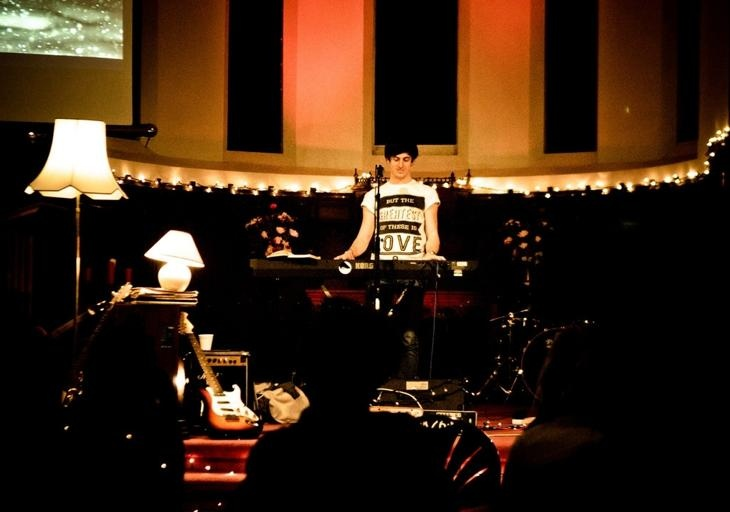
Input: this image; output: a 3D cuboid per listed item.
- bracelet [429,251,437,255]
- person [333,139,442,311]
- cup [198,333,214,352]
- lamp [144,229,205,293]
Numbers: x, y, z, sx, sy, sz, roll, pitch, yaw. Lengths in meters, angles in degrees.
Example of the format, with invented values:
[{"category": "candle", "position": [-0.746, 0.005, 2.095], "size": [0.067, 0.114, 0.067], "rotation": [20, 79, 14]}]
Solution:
[{"category": "bracelet", "position": [0.480, -0.022, 5.690], "size": [0.041, 0.029, 0.014], "rotation": [-1, 9, -26]}, {"category": "person", "position": [0.285, -0.358, 6.272], "size": [0.944, 1.103, 0.862], "rotation": [1, -3, 8]}, {"category": "cup", "position": [-1.196, 0.660, 6.197], "size": [0.122, 0.118, 0.119], "rotation": [1, -1, 0]}, {"category": "lamp", "position": [-1.382, 0.039, 5.898], "size": [0.416, 0.438, 0.395], "rotation": [9, -10, -26]}]
